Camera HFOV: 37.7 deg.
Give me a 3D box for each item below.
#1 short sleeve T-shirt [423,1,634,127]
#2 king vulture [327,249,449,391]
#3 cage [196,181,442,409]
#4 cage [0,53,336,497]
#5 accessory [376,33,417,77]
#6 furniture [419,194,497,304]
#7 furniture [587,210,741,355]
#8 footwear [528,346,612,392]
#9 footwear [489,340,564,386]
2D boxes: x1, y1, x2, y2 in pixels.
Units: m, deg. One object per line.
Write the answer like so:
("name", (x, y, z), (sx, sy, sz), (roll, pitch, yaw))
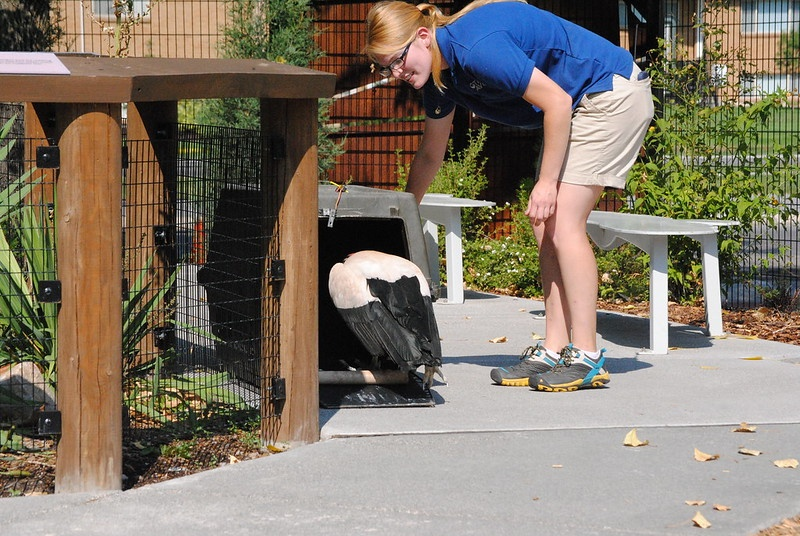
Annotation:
("short sleeve T-shirt", (0.815, -1.254, 7.288), (1.127, 0.806, 0.720), (2, 15, 10))
("king vulture", (-0.063, 0.294, 7.366), (0.608, 0.783, 1.175), (3, 6, -35))
("cage", (-0.539, 0.049, 7.575), (1.281, 1.173, 1.689), (3, 2, -3))
("cage", (-1.243, 0.006, 6.399), (1.610, 2.200, 0.590), (-8, 16, -26))
("accessory", (-0.006, -1.310, 7.136), (0.065, 0.222, 0.209), (35, -23, -14))
("furniture", (0.525, -0.169, 10.557), (0.631, 0.828, 1.219), (3, 4, -3))
("furniture", (2.013, -0.100, 8.795), (0.919, 0.686, 1.335), (-2, 6, -20))
("footwear", (1.107, 0.661, 7.529), (0.588, 0.327, 0.226), (-2, 4, -9))
("footwear", (0.843, 0.642, 7.700), (0.551, 0.282, 0.202), (-2, 8, -1))
